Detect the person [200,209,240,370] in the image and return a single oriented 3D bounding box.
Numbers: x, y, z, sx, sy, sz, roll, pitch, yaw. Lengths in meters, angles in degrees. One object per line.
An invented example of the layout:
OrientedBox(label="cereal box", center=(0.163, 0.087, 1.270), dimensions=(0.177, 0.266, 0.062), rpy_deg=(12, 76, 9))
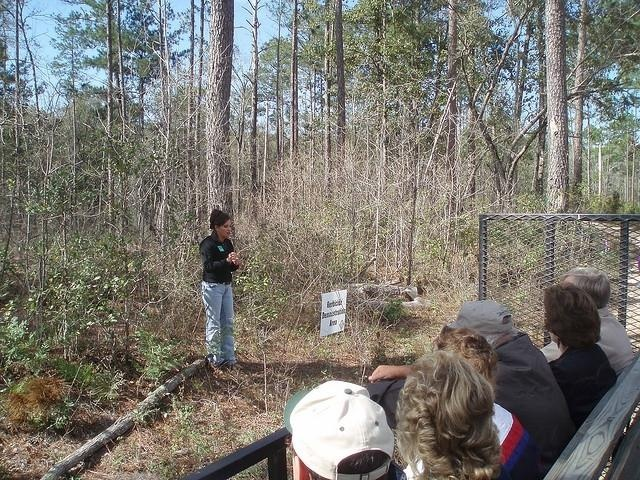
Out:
OrientedBox(label="person", center=(-1.416, 0.728, 8.277), dimensions=(0.590, 2.313, 0.559), rpy_deg=(-1, 3, 4))

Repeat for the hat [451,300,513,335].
OrientedBox(label="hat", center=(1.530, 0.689, 5.461), dimensions=(0.426, 0.260, 0.327), rpy_deg=(0, -4, 31))

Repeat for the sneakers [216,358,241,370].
OrientedBox(label="sneakers", center=(-1.342, 1.845, 8.597), dimensions=(0.386, 0.173, 0.134), rpy_deg=(12, -14, -30))
